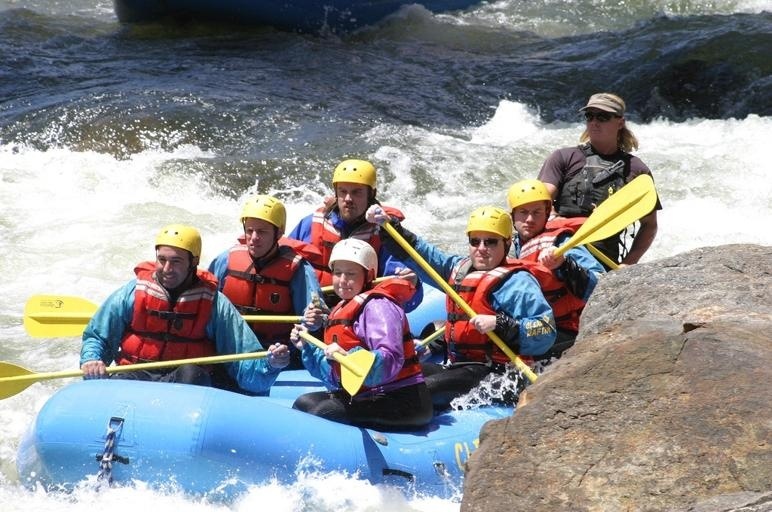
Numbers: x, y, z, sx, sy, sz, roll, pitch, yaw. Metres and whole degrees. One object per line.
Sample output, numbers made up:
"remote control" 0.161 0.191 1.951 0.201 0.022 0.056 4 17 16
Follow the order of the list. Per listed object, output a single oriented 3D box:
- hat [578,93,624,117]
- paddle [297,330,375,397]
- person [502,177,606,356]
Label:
"hat" 2.344 -1.633 12.253 0.461 0.227 0.307 2 21 5
"paddle" -0.553 0.978 10.914 0.112 0.304 0.919 24 2 -44
"person" 1.705 0.176 11.523 1.139 0.919 1.892 -30 29 29
